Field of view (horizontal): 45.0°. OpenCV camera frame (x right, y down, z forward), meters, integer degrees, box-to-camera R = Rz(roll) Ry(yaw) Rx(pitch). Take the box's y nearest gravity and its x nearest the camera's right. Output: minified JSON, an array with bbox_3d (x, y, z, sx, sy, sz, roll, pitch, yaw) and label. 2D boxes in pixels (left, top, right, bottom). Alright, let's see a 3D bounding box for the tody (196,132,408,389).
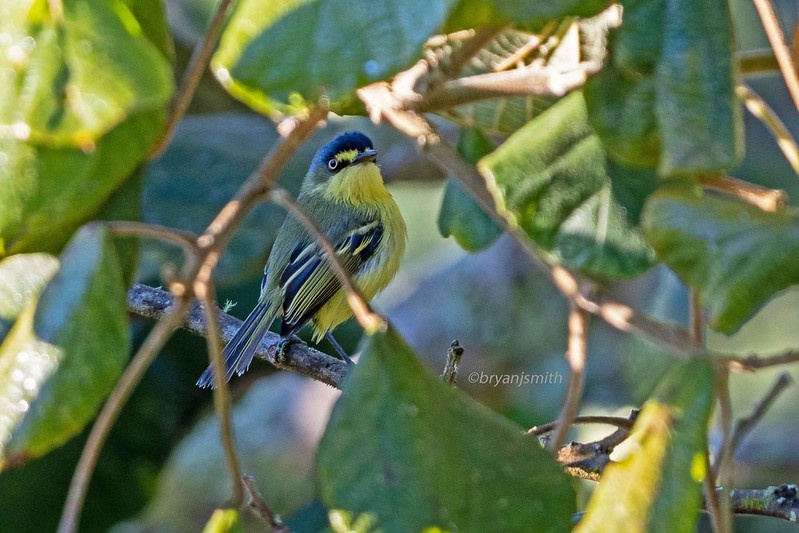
[{"bbox_3d":[-0.292,-0.021,2.733,0.672,0.662,0.369,-11,8,-31],"label":"tody"}]
